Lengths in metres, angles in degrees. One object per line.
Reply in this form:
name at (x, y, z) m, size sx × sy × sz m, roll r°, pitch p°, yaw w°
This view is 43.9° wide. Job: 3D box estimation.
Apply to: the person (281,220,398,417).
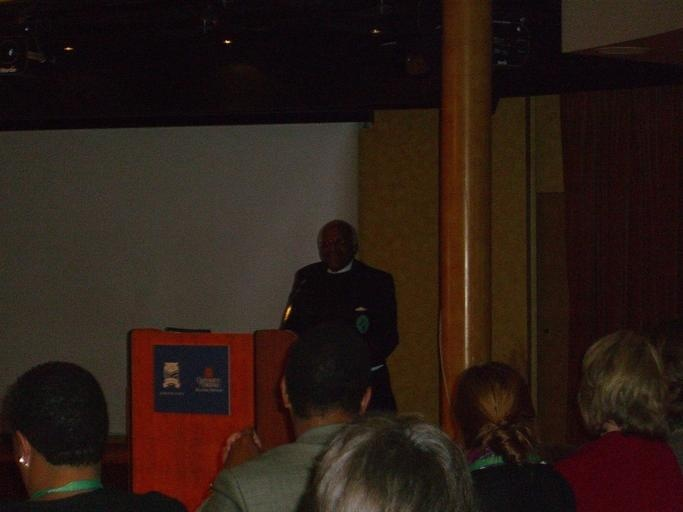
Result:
person at (-0.014, 0.757, 5.907) m, size 0.825 × 2.065 × 0.653 m, roll 1°, pitch 11°, yaw 10°
